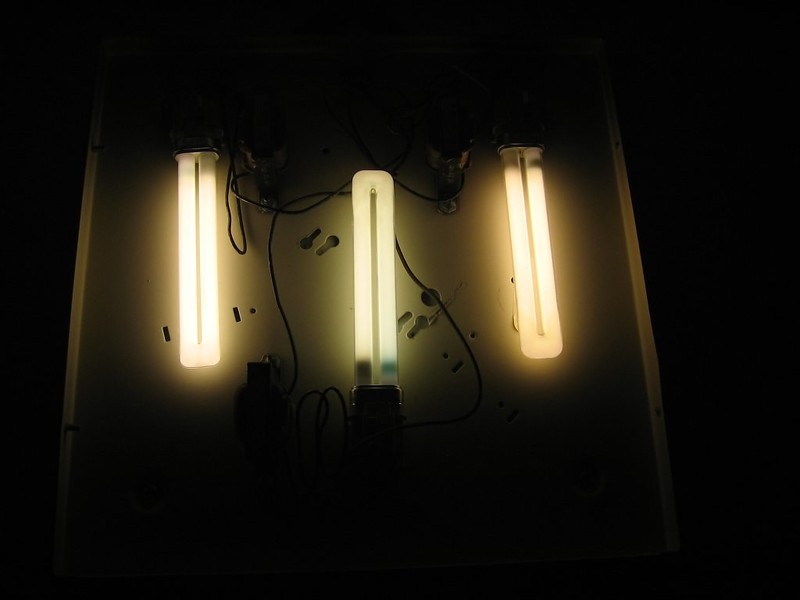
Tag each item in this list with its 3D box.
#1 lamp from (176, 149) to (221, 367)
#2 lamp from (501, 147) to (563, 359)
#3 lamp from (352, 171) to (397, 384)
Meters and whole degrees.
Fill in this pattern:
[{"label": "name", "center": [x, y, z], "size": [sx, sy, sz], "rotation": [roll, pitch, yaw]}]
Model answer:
[{"label": "lamp", "center": [-0.654, -0.141, 2.636], "size": [0.156, 0.704, 0.053], "rotation": [4, -11, -19]}, {"label": "lamp", "center": [0.424, -0.165, 2.679], "size": [0.173, 0.705, 0.073], "rotation": [0, -10, -1]}, {"label": "lamp", "center": [-0.081, -0.072, 2.594], "size": [0.136, 0.679, 0.059], "rotation": [1, -10, -4]}]
